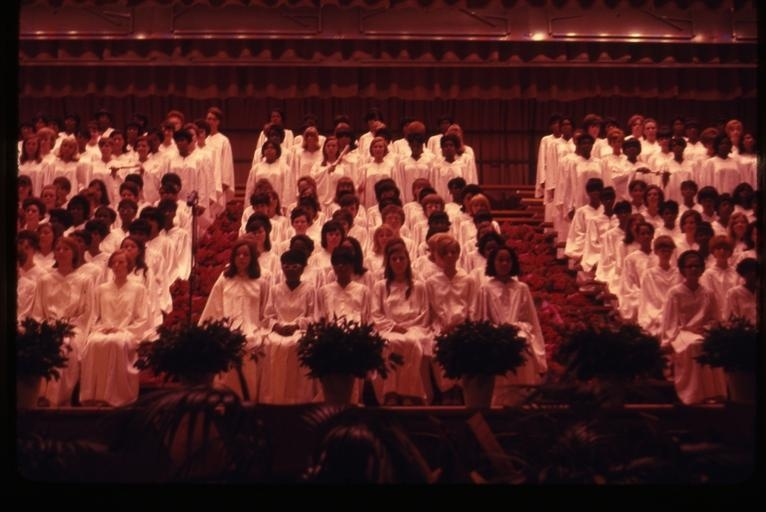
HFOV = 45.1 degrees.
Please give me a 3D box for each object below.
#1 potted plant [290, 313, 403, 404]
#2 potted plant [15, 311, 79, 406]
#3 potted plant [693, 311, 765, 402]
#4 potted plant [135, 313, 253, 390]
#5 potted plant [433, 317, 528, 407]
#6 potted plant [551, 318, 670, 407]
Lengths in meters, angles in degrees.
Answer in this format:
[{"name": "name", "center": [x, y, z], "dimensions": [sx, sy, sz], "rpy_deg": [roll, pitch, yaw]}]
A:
[{"name": "potted plant", "center": [-0.302, 0.777, 7.240], "dimensions": [0.683, 0.583, 0.696], "rpy_deg": [10, -15, -19]}, {"name": "potted plant", "center": [-2.752, 0.815, 7.354], "dimensions": [0.607, 0.798, 0.621], "rpy_deg": [0, -10, -2]}, {"name": "potted plant", "center": [2.746, 0.812, 7.370], "dimensions": [0.615, 0.653, 0.595], "rpy_deg": [7, -17, -27]}, {"name": "potted plant", "center": [-1.512, 0.749, 7.306], "dimensions": [0.614, 0.429, 0.632], "rpy_deg": [-3, -1, 0]}, {"name": "potted plant", "center": [0.747, 0.849, 7.290], "dimensions": [0.667, 0.632, 0.654], "rpy_deg": [11, -17, -39]}, {"name": "potted plant", "center": [1.789, 0.822, 7.233], "dimensions": [0.624, 0.480, 0.680], "rpy_deg": [0, -1, 18]}]
